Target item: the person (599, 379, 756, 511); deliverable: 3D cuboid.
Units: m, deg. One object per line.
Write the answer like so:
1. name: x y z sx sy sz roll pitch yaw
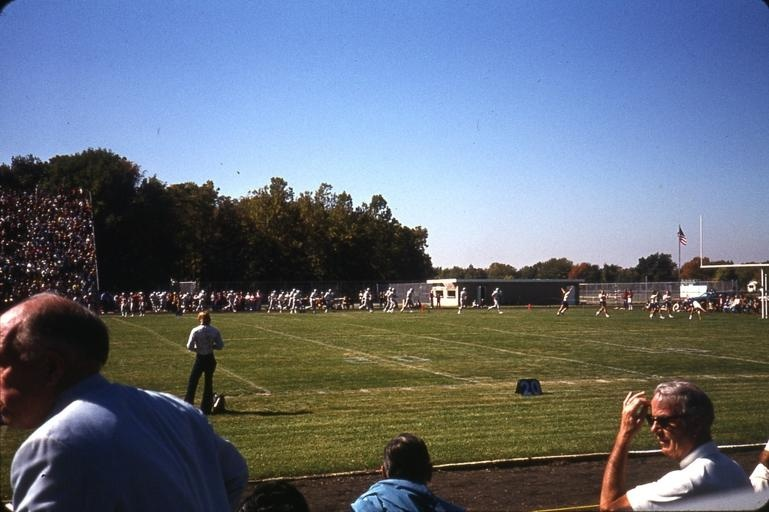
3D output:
1. person: 2.223 1.362 5.620 0.893 0.984 1.092 -5 -12 38
